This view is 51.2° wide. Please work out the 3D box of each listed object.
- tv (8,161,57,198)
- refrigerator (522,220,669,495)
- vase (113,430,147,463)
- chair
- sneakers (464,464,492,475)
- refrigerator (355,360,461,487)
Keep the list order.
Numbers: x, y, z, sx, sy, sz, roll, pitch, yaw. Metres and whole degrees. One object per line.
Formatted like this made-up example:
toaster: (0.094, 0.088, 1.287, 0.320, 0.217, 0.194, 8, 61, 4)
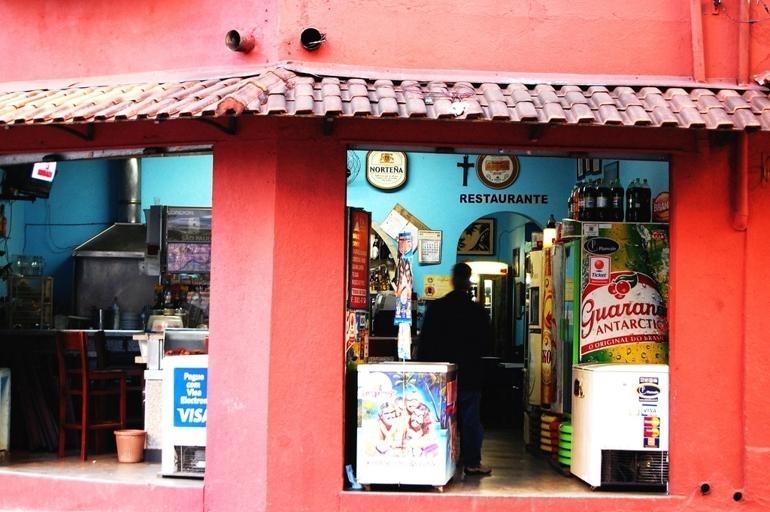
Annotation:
tv: (-5.915, -1.297, 13.385, 0.354, 0.639, 0.671, 9, 2, 23)
refrigerator: (2.788, 1.149, 10.178, 1.718, 3.330, 1.260, -5, -9, 32)
vase: (-3.407, 2.550, 10.806, 0.472, 0.380, 0.474, 4, -10, -27)
chair: (-4.177, 1.963, 11.769, 1.183, 1.744, 1.939, 2, -8, -16)
sneakers: (1.188, 2.717, 10.199, 0.309, 0.129, 0.133, -1, -1, -10)
refrigerator: (0.246, 1.887, 9.889, 1.326, 1.444, 1.530, 0, 5, -10)
